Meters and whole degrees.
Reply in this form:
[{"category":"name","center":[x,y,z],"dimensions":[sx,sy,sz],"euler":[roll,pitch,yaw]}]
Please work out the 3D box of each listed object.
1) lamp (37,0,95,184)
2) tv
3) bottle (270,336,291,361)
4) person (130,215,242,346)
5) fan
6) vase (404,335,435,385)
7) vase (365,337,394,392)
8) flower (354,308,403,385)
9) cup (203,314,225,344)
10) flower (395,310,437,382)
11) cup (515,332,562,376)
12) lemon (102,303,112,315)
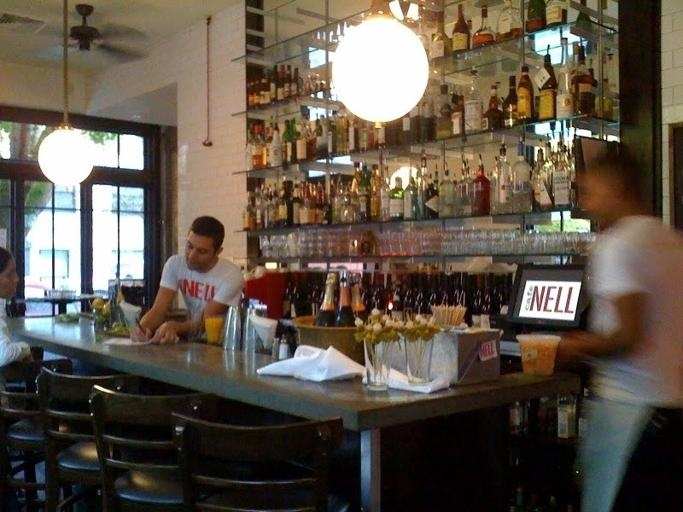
[{"category":"lamp","center":[-2.575,-1.603,5.981],"dimensions":[0.391,1.678,2.611],"euler":[1,0,-23]},{"category":"tv","center":[1.253,0.247,3.814],"dimensions":[0.113,0.330,0.354],"euler":[27,-15,-37]},{"category":"bottle","center":[-0.289,0.454,3.096],"dimensions":[0.107,0.168,0.098],"euler":[0,-6,0]},{"category":"person","center":[-0.973,0.179,4.143],"dimensions":[0.580,0.882,0.983],"euler":[10,7,5]},{"category":"fan","center":[-2.850,-2.527,7.019],"dimensions":[0.966,0.387,1.026],"euler":[-3,2,-16]},{"category":"vase","center":[0.309,0.418,2.472],"dimensions":[0.118,0.195,0.126],"euler":[-1,-21,4]},{"category":"vase","center":[0.144,0.425,2.474],"dimensions":[0.126,0.209,0.133],"euler":[5,-13,-14]},{"category":"flower","center":[0.142,0.362,2.415],"dimensions":[0.174,0.305,0.100],"euler":[1,0,6]},{"category":"cup","center":[-0.734,0.426,3.731],"dimensions":[0.135,0.162,0.135],"euler":[-1,-9,0]},{"category":"flower","center":[0.296,0.346,2.427],"dimensions":[0.208,0.311,0.215],"euler":[0,0,10]},{"category":"cup","center":[0.843,0.421,2.708],"dimensions":[0.152,0.134,0.157],"euler":[1,-2,0]},{"category":"lemon","center":[-1.522,0.352,4.111],"dimensions":[0.065,0.088,0.046],"euler":[-4,-10,34]}]
